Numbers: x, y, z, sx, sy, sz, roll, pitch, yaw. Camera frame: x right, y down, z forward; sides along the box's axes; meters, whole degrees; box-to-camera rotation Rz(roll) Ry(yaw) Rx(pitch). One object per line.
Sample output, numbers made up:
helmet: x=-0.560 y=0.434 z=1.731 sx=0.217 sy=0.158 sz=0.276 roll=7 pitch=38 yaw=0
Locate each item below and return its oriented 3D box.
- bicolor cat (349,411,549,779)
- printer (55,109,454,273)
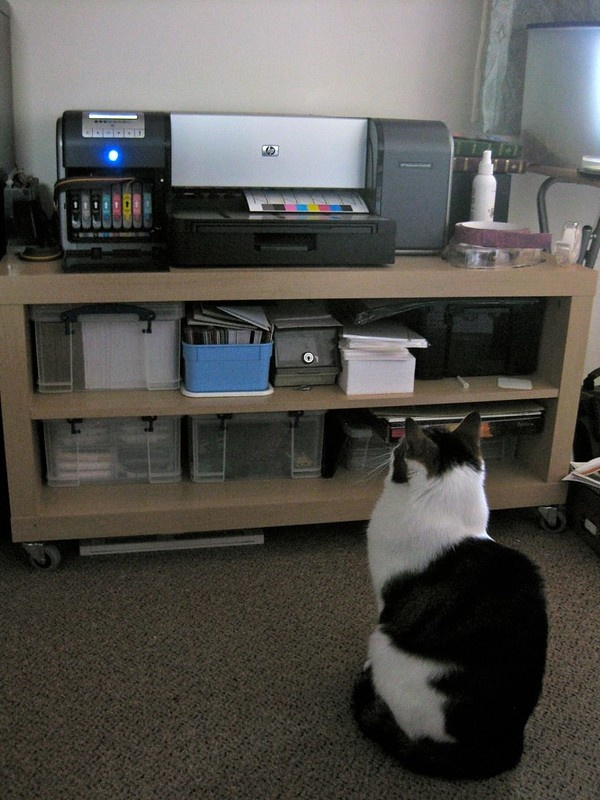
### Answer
bicolor cat: x=0.233 y=0.313 z=1.136 sx=0.283 sy=0.519 sz=0.414 roll=-1 pitch=23 yaw=-6
printer: x=-0.069 y=-0.475 z=1.568 sx=0.938 sy=0.327 sz=0.291 roll=-7 pitch=24 yaw=-18
